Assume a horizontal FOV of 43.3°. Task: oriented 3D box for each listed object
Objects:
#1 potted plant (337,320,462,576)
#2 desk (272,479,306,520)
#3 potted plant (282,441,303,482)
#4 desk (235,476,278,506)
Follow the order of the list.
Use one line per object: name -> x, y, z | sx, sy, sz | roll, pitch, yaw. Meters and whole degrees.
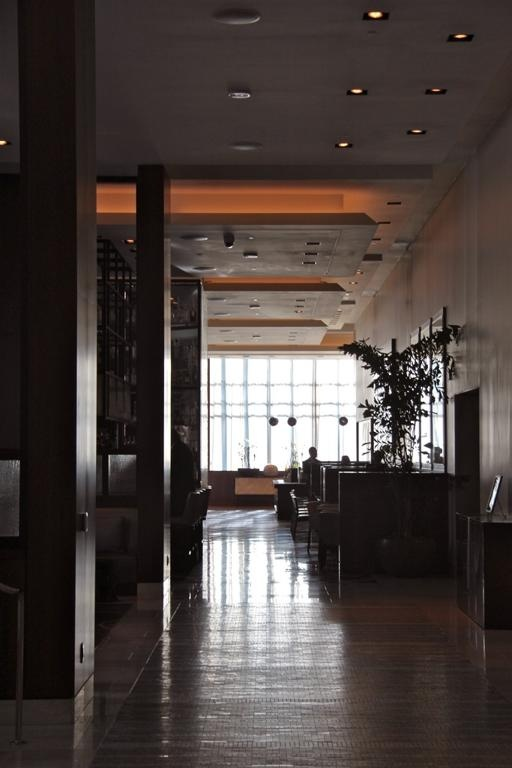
potted plant -> 1.999, 0.321, 8.776 | 1.297, 2.436, 1.809 | -1, -4, 9
desk -> 0.823, 2.797, 15.783 | 0.619, 1.235, 1.103 | 0, -2, 1
potted plant -> 1.233, 2.648, 21.902 | 0.631, 2.240, 0.853 | 1, -2, -5
desk -> -0.041, 3.437, 20.870 | 0.984, 0.903, 0.620 | 0, -6, -2
